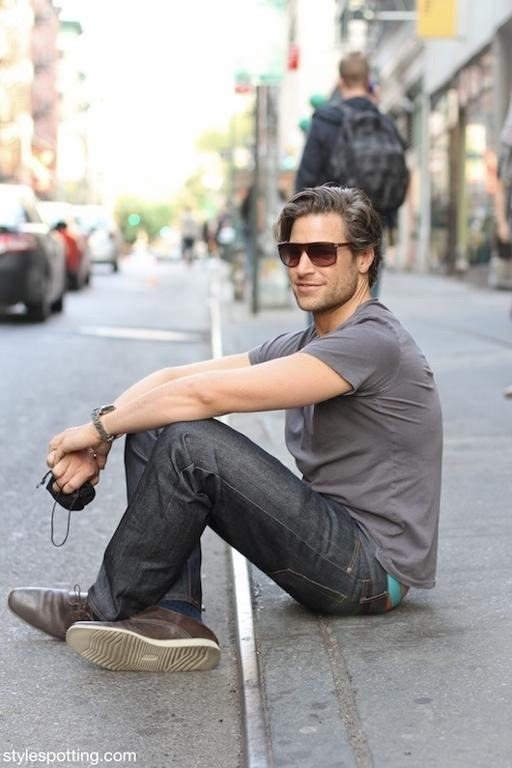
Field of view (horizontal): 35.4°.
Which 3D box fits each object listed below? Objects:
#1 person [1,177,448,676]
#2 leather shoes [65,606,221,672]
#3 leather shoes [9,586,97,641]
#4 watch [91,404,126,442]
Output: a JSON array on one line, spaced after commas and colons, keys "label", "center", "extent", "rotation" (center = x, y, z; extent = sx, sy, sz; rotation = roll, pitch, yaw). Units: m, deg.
[{"label": "person", "center": [-0.058, 0.108, 2.149], "extent": [1.060, 1.038, 0.512], "rotation": [-7, 2, -8]}, {"label": "leather shoes", "center": [-0.264, 0.616, 2.009], "extent": [0.457, 0.140, 0.180], "rotation": [5, 33, -9]}, {"label": "leather shoes", "center": [-0.542, 0.592, 2.114], "extent": [0.325, 0.101, 0.125], "rotation": [16, -29, -22]}, {"label": "watch", "center": [-0.417, 0.104, 2.252], "extent": [0.039, 0.098, 0.079], "rotation": [-25, -38, 14]}]
